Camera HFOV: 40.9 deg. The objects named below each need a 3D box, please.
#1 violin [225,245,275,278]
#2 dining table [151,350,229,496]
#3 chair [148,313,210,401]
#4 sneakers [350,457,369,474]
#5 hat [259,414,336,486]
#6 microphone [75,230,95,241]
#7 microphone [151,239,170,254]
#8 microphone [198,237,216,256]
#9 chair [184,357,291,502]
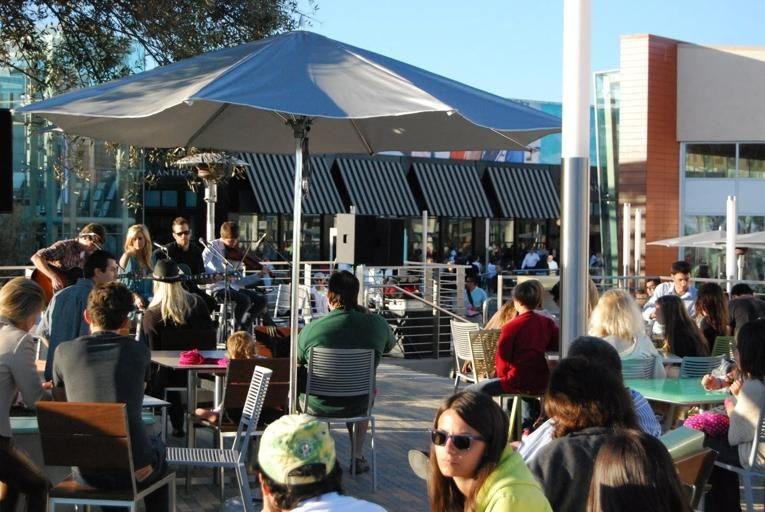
[{"bbox_3d":[-2.022,0.023,15.234,0.667,0.212,0.368,26,-21,-8],"label":"violin"},{"bbox_3d":[-2.145,1.733,11.542,1.568,1.173,1.048,1,0,-9],"label":"dining table"},{"bbox_3d":[-2.493,1.097,12.437,0.499,1.305,0.533,0,0,-27],"label":"chair"},{"bbox_3d":[-0.275,2.373,11.621,0.118,0.122,0.274,1,1,22],"label":"sneakers"},{"bbox_3d":[-0.664,1.454,7.703,0.398,0.306,0.566,-1,14,-5],"label":"hat"},{"bbox_3d":[-3.961,-0.286,13.646,0.149,0.120,0.182,-1,-17,-35],"label":"microphone"},{"bbox_3d":[-3.966,-0.166,18.161,0.272,0.220,0.832,28,-8,-18],"label":"microphone"},{"bbox_3d":[-2.600,-0.144,15.003,0.118,0.272,0.353,29,-6,-19],"label":"microphone"},{"bbox_3d":[-1.459,1.739,10.268,0.744,1.468,1.865,2,0,12],"label":"chair"}]
